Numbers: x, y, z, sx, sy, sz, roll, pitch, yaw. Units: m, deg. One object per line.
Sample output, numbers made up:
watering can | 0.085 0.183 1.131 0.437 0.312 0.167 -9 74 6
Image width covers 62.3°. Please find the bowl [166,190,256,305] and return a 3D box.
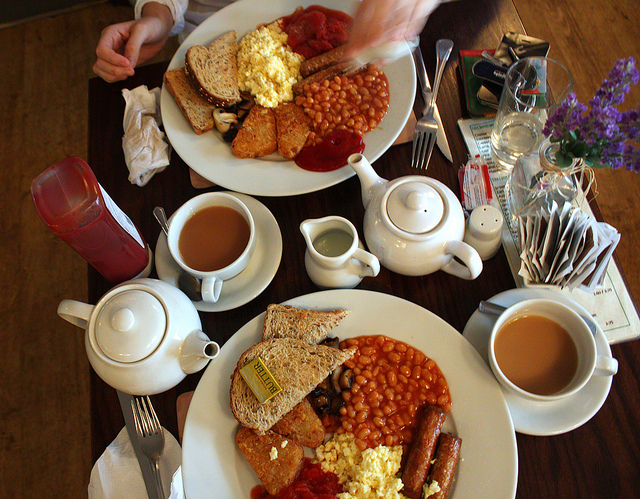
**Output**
bowl | -0.366 0.075 1.921 0.261 0.275 0.491 -9 67 -6

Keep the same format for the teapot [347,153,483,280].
teapot | 0.305 -0.067 1.791 0.347 0.269 0.514 -43 77 -9

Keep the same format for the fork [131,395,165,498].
fork | -0.597 0.567 1.839 0.059 0.052 0.538 -1 77 -38

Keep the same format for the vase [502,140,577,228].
vase | 0.779 -0.223 1.858 0.155 0.285 0.169 25 78 10

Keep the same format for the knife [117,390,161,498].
knife | -0.619 0.673 1.809 0.034 0.037 0.396 -14 87 0
